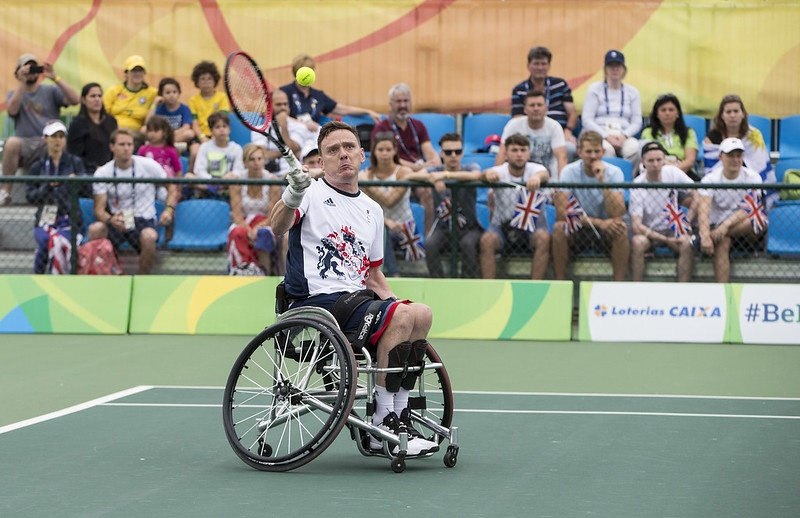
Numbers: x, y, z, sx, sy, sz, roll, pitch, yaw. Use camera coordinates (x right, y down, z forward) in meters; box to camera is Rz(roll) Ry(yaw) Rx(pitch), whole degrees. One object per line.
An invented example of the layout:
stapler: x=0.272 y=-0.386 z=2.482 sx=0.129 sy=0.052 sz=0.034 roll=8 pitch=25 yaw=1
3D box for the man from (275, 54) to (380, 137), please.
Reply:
man: x=-1.378 y=-2.575 z=17.663 sx=0.992 sy=1.296 sz=2.019 roll=0 pitch=-3 yaw=-39

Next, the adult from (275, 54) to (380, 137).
adult: x=-1.332 y=-2.673 z=17.570 sx=0.992 sy=1.296 sz=2.019 roll=0 pitch=-3 yaw=-39

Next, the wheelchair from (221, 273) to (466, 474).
wheelchair: x=-0.649 y=1.292 z=10.828 sx=1.812 sy=2.212 sz=1.991 roll=-5 pitch=-26 yaw=24

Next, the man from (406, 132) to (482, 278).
man: x=0.718 y=-0.506 z=15.151 sx=0.808 sy=2.561 sz=1.276 roll=-2 pitch=4 yaw=12

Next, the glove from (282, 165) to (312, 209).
glove: x=-0.999 y=-0.683 z=10.300 sx=0.295 sy=0.413 sz=0.224 roll=-1 pitch=3 yaw=-12

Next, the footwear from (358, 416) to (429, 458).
footwear: x=-0.027 y=1.678 z=10.338 sx=0.773 sy=0.410 sz=0.264 roll=4 pitch=5 yaw=44

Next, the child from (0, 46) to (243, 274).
child: x=-4.131 y=-0.718 z=16.716 sx=1.976 sy=3.294 sz=3.290 roll=2 pitch=-24 yaw=-5

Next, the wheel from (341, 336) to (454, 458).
wheel: x=0.028 y=1.285 z=10.424 sx=0.887 sy=1.320 sz=1.027 roll=0 pitch=6 yaw=-43

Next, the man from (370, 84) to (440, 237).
man: x=0.121 y=-1.310 z=16.224 sx=1.036 sy=2.700 sz=1.334 roll=-7 pitch=17 yaw=-15

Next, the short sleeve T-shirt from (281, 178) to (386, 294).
short sleeve T-shirt: x=-0.669 y=-0.203 z=10.483 sx=0.861 sy=1.108 sz=0.538 roll=9 pitch=-12 yaw=-29

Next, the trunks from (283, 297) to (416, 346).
trunks: x=-0.452 y=0.520 z=10.324 sx=0.795 sy=0.319 sz=0.522 roll=1 pitch=0 yaw=24
